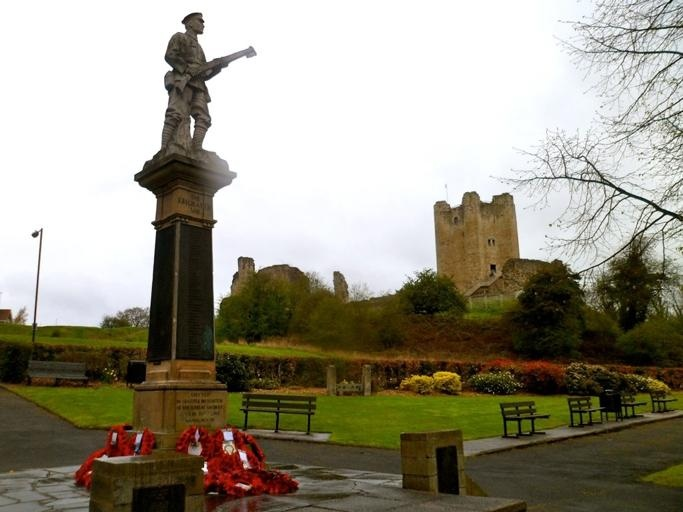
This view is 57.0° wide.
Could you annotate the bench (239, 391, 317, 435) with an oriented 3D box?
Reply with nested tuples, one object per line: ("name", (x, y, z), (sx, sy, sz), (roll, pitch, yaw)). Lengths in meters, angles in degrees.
("bench", (-1.862, 4.854, 19.218), (2.443, 0.989, 0.666), (-2, -31, 20))

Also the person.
("person", (-3.303, -3.754, 13.818), (1.196, 3.392, 0.828), (4, -15, -17))
